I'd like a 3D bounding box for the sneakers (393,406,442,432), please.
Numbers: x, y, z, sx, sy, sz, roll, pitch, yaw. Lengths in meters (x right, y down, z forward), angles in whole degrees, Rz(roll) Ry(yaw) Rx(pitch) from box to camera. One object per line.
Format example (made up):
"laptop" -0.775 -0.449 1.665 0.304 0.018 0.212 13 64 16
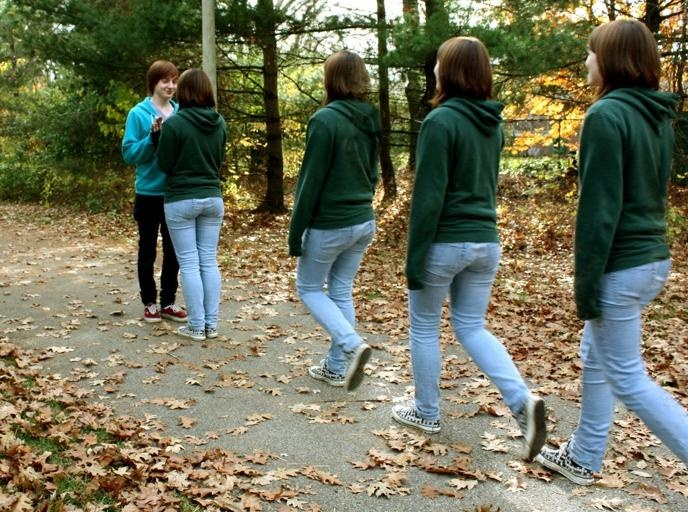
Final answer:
"sneakers" 0.595 1.359 5.922 0.451 0.142 0.169 13 5 39

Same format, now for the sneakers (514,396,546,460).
"sneakers" 1.391 1.271 5.212 0.230 0.455 0.200 22 49 42

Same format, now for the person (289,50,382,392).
"person" -0.069 -0.248 6.107 0.806 3.028 1.046 -1 11 2

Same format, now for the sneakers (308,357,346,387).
"sneakers" -0.118 1.111 6.735 0.437 0.175 0.169 17 2 32

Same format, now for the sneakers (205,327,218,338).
"sneakers" -1.422 0.821 7.547 0.076 0.067 0.177 -4 9 -26

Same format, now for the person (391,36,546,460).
"person" 0.904 -0.089 5.427 1.192 3.149 0.667 2 11 18

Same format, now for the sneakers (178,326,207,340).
"sneakers" -1.626 0.799 7.496 0.323 0.108 0.127 12 9 34
